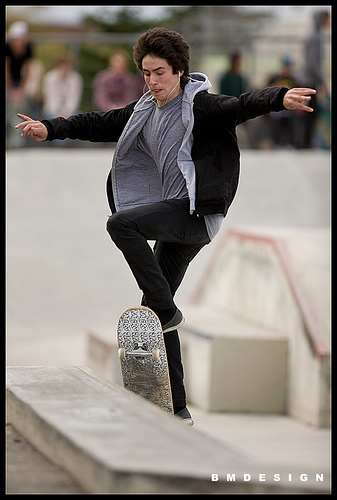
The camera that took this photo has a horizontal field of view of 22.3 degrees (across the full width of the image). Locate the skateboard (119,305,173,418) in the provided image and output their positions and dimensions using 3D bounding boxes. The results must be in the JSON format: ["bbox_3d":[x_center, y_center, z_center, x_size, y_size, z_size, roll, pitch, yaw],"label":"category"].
[{"bbox_3d":[-0.082,0.577,4.226,0.199,0.618,0.087,1,27,32],"label":"skateboard"}]

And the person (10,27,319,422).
[{"bbox_3d":[-0.106,-0.114,4.130,1.097,1.838,0.561,9,8,14],"label":"person"}]

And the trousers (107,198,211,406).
[{"bbox_3d":[-0.091,0.236,4.214,0.492,1.020,0.383,7,8,1],"label":"trousers"}]
